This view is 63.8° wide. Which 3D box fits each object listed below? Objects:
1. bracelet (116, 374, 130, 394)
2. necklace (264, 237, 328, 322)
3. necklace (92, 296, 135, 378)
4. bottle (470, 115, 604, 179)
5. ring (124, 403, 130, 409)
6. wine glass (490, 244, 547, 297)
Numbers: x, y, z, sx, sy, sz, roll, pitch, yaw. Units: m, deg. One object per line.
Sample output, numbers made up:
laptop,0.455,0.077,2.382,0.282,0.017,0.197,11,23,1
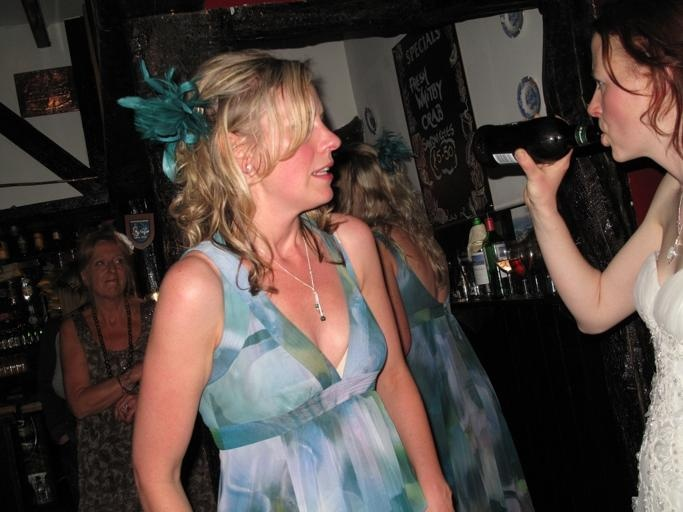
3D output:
bracelet,-1.277,0.748,3.222,0.019,0.078,0.076,-35,1,-18
necklace,-0.124,0.091,1.897,0.101,0.337,0.039,-17,-23,-13
necklace,-1.463,0.451,3.498,0.174,0.609,0.028,3,-42,-25
bottle,0.843,-0.481,2.613,0.230,0.262,0.709,0,4,-37
ring,-1.230,0.865,3.152,0.021,0.030,0.028,-8,24,-36
wine glass,1.095,0.086,3.373,0.158,0.314,0.173,0,-41,-13
